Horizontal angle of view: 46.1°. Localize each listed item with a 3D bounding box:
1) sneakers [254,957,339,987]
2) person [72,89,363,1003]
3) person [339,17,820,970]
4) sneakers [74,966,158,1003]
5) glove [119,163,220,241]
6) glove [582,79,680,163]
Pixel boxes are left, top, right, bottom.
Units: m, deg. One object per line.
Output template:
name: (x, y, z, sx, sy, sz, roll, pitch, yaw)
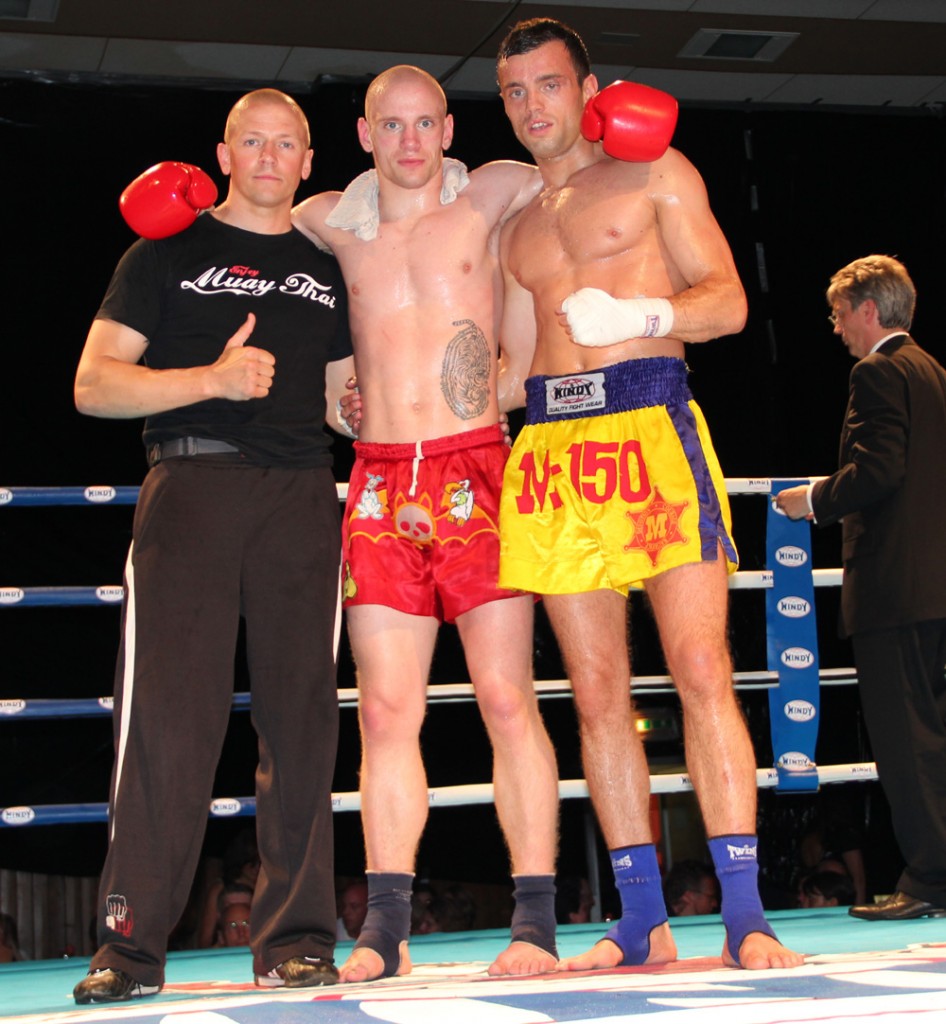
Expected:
sneakers: (-0.293, 0.763, 1.883, 0.139, 0.055, 0.049, 3, -10, 1)
person: (-0.447, -0.011, 2.004, 0.487, 1.648, 0.401, -3, -5, -10)
person: (0.290, -0.099, 2.128, 0.548, 1.871, 0.444, -6, -5, 23)
sneakers: (-0.556, 0.730, 1.750, 0.149, 0.059, 0.050, 14, -16, -35)
glove: (-0.570, -0.597, 2.150, 0.182, 0.131, 0.076, -33, -7, -18)
glove: (0.300, -0.765, 2.159, 0.179, 0.189, 0.160, -4, -5, 11)
